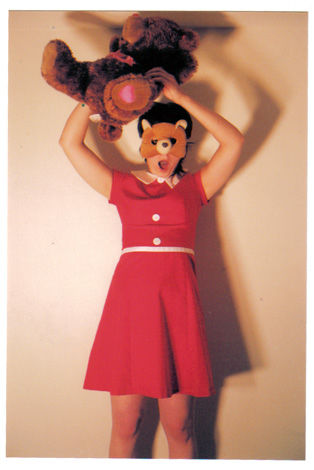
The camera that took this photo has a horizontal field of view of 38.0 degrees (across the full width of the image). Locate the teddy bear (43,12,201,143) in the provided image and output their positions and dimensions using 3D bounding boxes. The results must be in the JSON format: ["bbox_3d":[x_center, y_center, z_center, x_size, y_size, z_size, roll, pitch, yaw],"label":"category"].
[{"bbox_3d":[-0.129,-0.533,1.519,0.429,0.241,0.445,16,98,0],"label":"teddy bear"}]
